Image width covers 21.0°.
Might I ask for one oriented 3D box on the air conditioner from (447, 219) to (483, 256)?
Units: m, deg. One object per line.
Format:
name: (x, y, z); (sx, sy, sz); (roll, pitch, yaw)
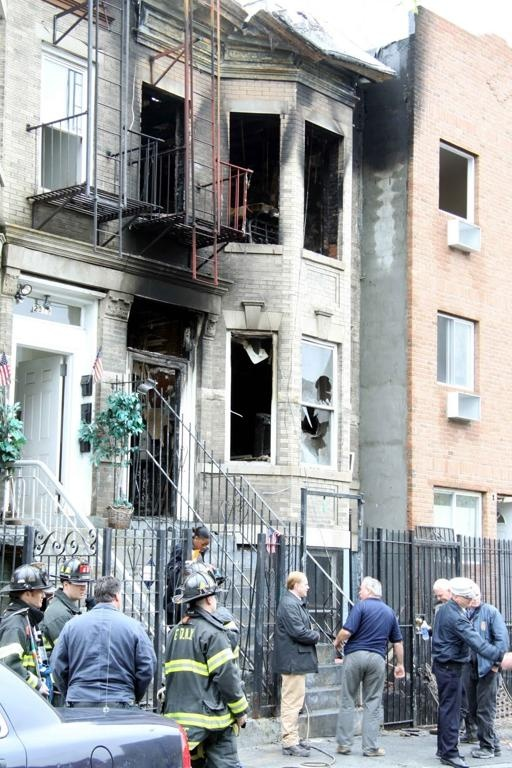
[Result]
air conditioner: (3.237, -2.295, 21.595); (0.194, 0.446, 0.768); (-4, -11, 43)

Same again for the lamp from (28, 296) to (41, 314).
lamp: (-2.634, -0.909, 16.483); (0.035, 0.190, 0.155); (-2, -9, 32)

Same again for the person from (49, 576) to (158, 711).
person: (-1.091, 1.889, 9.804); (0.633, 1.022, 0.535); (3, -26, -4)

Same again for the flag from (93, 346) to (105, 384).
flag: (-1.909, -0.217, 16.590); (0.133, 0.442, 0.290); (3, -8, -3)

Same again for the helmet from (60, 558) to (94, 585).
helmet: (-1.379, 1.419, 10.438); (0.201, 0.129, 0.155); (-3, -4, 34)

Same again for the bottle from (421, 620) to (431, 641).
bottle: (1.870, 2.727, 15.172); (0.062, 0.168, 0.214); (6, -42, -7)

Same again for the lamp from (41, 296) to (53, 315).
lamp: (-2.533, -0.928, 16.596); (0.068, 0.205, 0.257); (2, 2, 2)

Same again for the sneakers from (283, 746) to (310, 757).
sneakers: (0.367, 3.401, 12.871); (0.229, 0.139, 0.100); (-3, -1, 13)

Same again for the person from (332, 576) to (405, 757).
person: (1.057, 2.724, 13.379); (0.691, 1.678, 0.513); (9, -9, -37)

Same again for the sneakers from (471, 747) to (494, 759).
sneakers: (2.233, 3.638, 13.611); (0.190, 0.105, 0.102); (11, -7, -18)

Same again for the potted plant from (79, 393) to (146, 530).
potted plant: (-1.668, 0.879, 16.421); (0.765, 1.709, 1.084); (7, -9, -29)

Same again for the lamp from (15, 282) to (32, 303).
lamp: (-2.740, -1.041, 16.197); (0.172, 0.231, 0.353); (5, -8, -7)

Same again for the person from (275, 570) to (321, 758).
person: (0.361, 2.645, 13.138); (0.416, 1.695, 0.428); (3, -7, 1)

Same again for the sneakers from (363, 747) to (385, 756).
sneakers: (1.128, 3.486, 13.106); (0.246, 0.092, 0.132); (9, -9, -25)

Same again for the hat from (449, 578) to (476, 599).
hat: (1.951, 1.942, 13.135); (0.207, 0.189, 0.298); (3, -8, 5)
